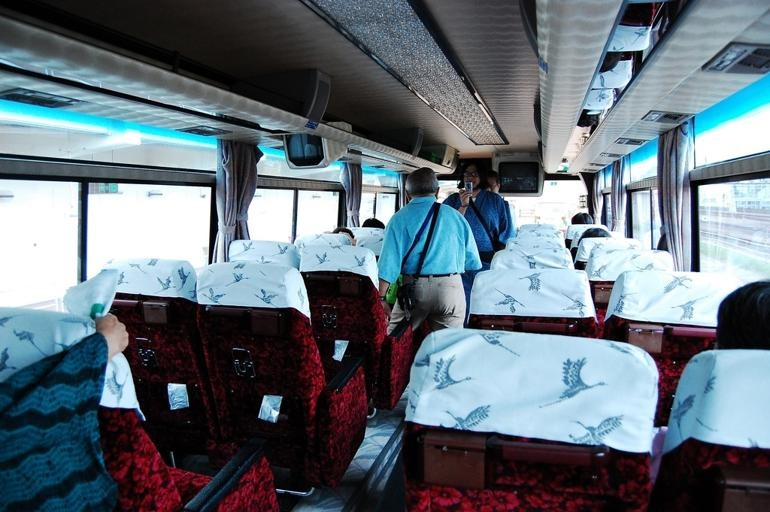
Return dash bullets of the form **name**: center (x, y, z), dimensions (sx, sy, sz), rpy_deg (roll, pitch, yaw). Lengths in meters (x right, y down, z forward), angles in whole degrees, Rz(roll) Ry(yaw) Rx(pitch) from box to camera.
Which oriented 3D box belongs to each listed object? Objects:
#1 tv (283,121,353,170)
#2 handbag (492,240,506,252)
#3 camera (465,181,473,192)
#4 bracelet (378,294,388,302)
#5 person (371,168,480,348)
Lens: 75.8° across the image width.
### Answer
- **tv**: center (-0.799, -1.223, 5.617), dimensions (0.509, 0.353, 0.602), rpy_deg (1, 6, 26)
- **handbag**: center (1.388, -0.124, 5.994), dimensions (0.155, 0.128, 0.122), rpy_deg (-2, -1, 35)
- **camera**: center (0.900, -0.747, 5.282), dimensions (0.118, 0.122, 0.114), rpy_deg (1, 1, 2)
- **bracelet**: center (-0.007, 0.355, 4.202), dimensions (0.059, 0.036, 0.074), rpy_deg (6, 8, 6)
- **person**: center (0.355, 0.266, 4.526), dimensions (0.919, 1.967, 0.825), rpy_deg (2, 13, 2)
